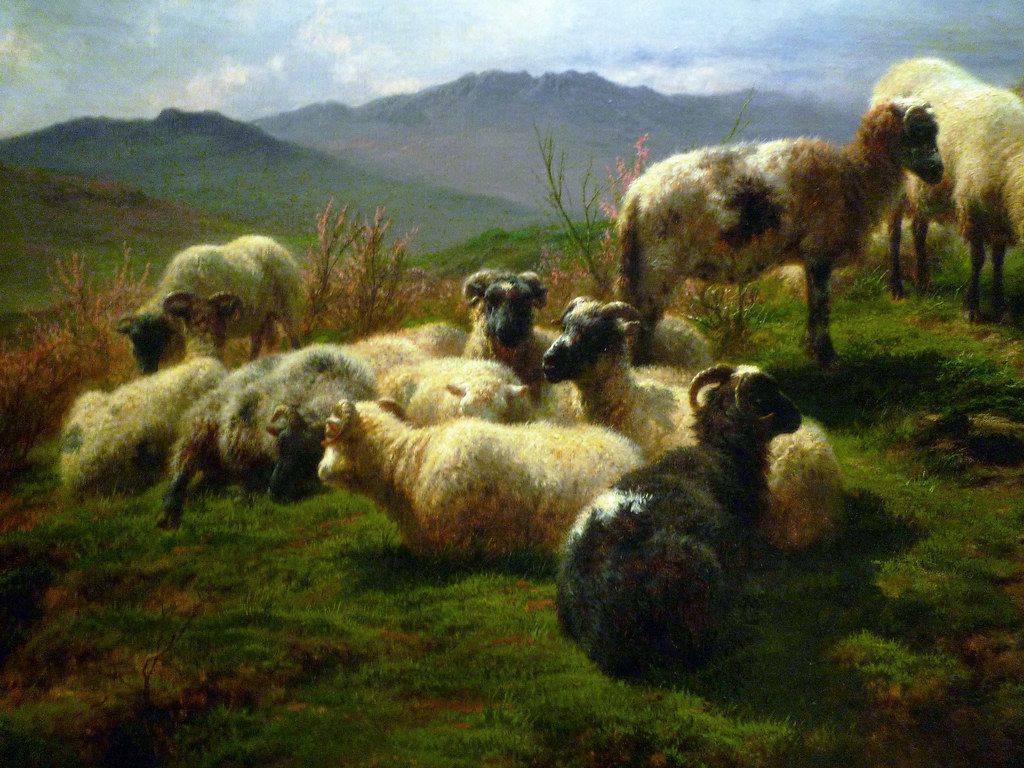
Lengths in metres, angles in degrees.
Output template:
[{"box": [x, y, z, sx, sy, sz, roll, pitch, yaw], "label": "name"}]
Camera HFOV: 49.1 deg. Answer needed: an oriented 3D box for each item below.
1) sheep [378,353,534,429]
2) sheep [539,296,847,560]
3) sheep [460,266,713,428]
[{"box": [-0.418, 0.033, 7.744, 0.959, 0.568, 0.495, 3, 9, 38], "label": "sheep"}, {"box": [1.038, 0.182, 7.299, 0.950, 1.335, 2.421, -15, 32, -31], "label": "sheep"}, {"box": [0.648, -0.377, 8.748, 1.905, 1.228, 0.923, -4, 4, -38], "label": "sheep"}]
